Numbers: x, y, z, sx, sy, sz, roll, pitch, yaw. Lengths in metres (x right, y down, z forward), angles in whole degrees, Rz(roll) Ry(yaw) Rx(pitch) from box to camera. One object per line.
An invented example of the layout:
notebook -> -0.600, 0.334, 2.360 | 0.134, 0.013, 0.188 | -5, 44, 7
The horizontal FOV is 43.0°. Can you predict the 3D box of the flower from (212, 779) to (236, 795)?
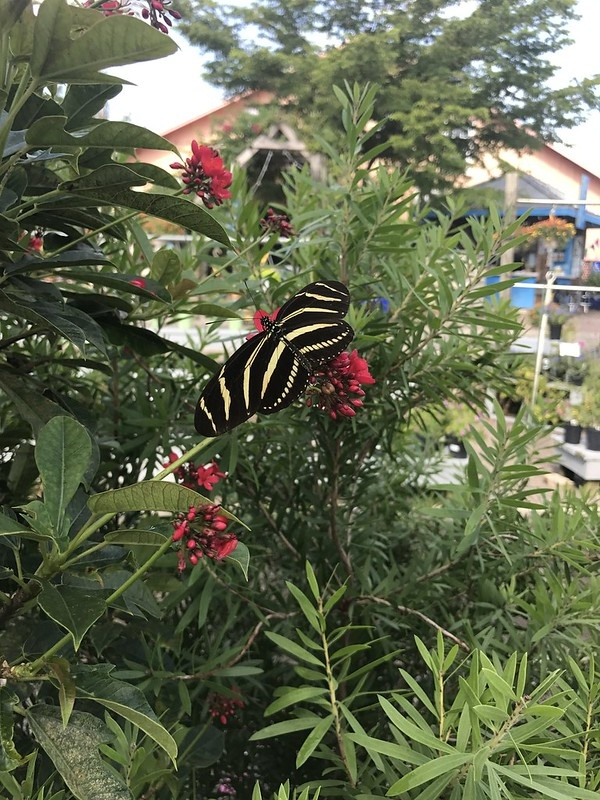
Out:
flower -> -0.100, 0.513, 1.001 | 0.025, 0.009, 0.027 | 5, 27, -19
